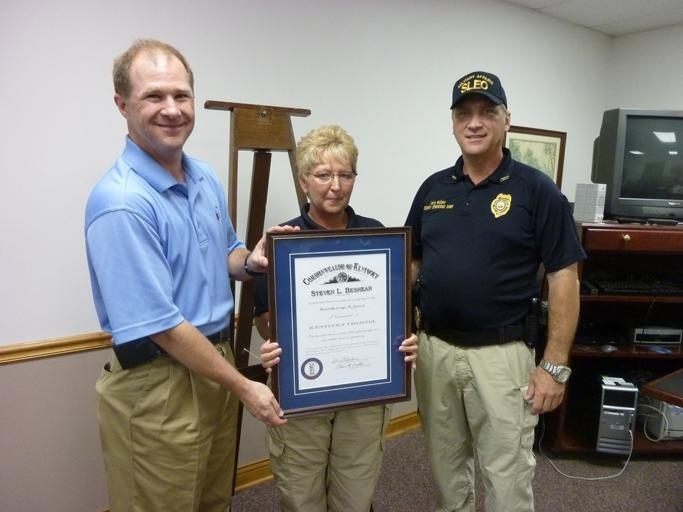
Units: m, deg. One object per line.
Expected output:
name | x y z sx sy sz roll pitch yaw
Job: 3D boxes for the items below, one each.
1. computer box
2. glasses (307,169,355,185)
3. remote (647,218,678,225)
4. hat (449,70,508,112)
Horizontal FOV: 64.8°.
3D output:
computer box | 1.713 1.004 3.490 0.249 0.408 0.443 5 0 1
glasses | -0.036 -0.343 2.330 0.200 0.051 0.078 -1 11 -3
remote | 2.005 -0.214 3.340 0.161 0.024 0.188 6 13 33
hat | 0.633 -0.765 2.482 0.245 0.180 0.341 2 11 12
